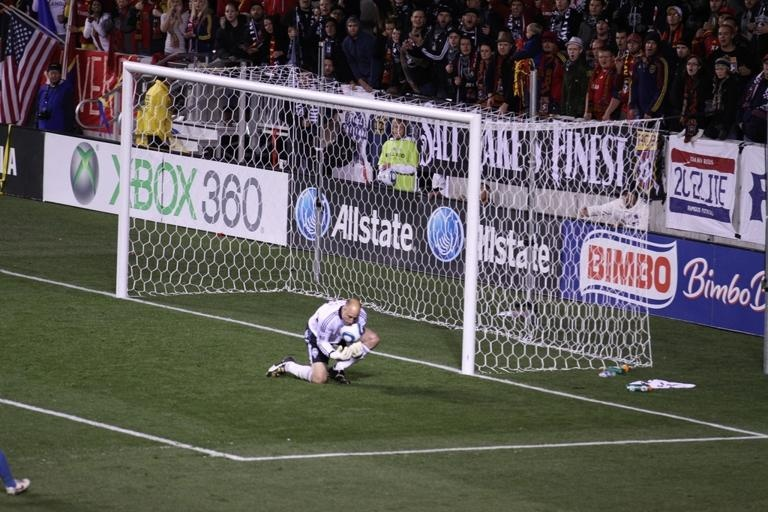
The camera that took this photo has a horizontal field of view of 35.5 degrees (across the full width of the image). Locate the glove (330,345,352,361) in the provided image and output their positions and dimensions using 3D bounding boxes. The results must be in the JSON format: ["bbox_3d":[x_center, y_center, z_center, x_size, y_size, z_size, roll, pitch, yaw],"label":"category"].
[{"bbox_3d":[-0.554,1.269,15.813,0.268,0.198,0.281,6,5,-2],"label":"glove"}]

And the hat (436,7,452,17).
[{"bbox_3d":[1.165,-4.609,22.693,0.193,0.195,0.251,5,23,0],"label":"hat"}]

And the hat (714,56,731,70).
[{"bbox_3d":[5.498,-3.152,19.456,0.210,0.170,0.217,14,-33,39],"label":"hat"}]

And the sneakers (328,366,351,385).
[{"bbox_3d":[-0.539,1.633,16.214,0.383,0.167,0.132,24,23,35],"label":"sneakers"}]

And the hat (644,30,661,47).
[{"bbox_3d":[4.573,-3.702,20.363,0.278,0.321,0.397,8,-7,16],"label":"hat"}]

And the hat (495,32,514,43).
[{"bbox_3d":[2.225,-4.002,21.895,0.286,0.237,0.530,6,5,5],"label":"hat"}]

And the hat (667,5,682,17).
[{"bbox_3d":[5.091,-4.280,20.939,0.261,0.137,0.289,7,5,15],"label":"hat"}]

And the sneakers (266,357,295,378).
[{"bbox_3d":[-1.415,1.515,16.318,0.464,0.206,0.176,-32,-21,27],"label":"sneakers"}]

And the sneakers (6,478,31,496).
[{"bbox_3d":[-3.902,2.478,12.944,0.113,0.118,0.262,14,30,35],"label":"sneakers"}]

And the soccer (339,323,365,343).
[{"bbox_3d":[-0.431,1.025,15.914,0.268,0.294,0.211,6,4,8],"label":"soccer"}]

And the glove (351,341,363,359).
[{"bbox_3d":[-0.333,1.246,15.707,0.073,0.170,0.170,10,6,18],"label":"glove"}]

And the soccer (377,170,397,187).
[{"bbox_3d":[0.068,-1.370,20.951,0.309,0.266,0.123,6,4,-5],"label":"soccer"}]

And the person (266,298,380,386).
[{"bbox_3d":[-0.852,1.123,16.090,1.486,1.218,1.073,3,15,19],"label":"person"}]
